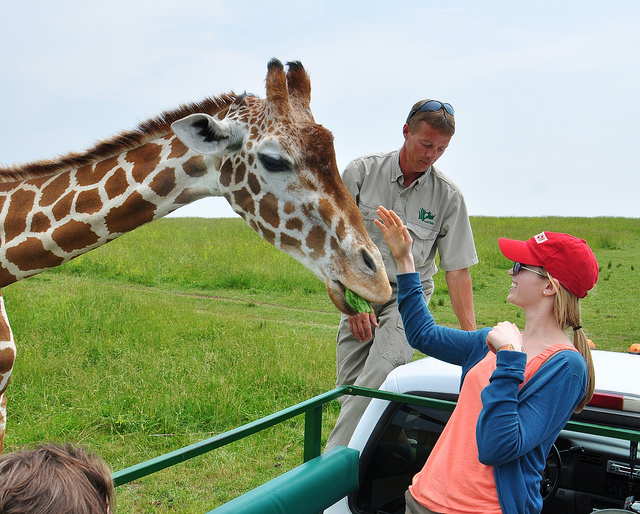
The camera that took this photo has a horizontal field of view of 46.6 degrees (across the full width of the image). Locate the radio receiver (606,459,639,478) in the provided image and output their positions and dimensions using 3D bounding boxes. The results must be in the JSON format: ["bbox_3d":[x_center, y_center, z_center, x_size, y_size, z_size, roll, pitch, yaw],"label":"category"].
[{"bbox_3d":[1.696,1.183,4.187,0.120,0.042,0.088,4,11,-4],"label":"radio receiver"}]

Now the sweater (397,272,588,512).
[{"bbox_3d":[0.876,0.701,4.055,0.857,1.539,0.848,3,-6,-9],"label":"sweater"}]

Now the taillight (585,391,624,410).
[{"bbox_3d":[1.539,0.770,4.041,0.183,0.080,0.060,2,9,21],"label":"taillight"}]
